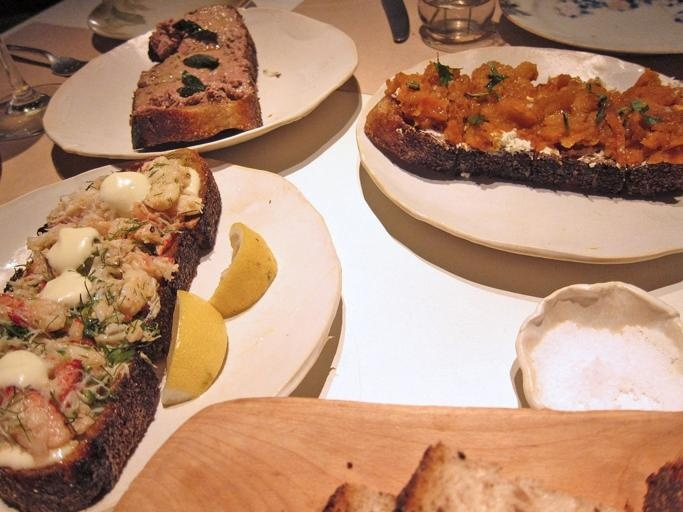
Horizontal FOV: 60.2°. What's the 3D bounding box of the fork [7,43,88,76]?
[{"bbox_3d":[-1.426,-0.960,2.883,0.486,0.061,0.093,23,67,14],"label":"fork"}]
